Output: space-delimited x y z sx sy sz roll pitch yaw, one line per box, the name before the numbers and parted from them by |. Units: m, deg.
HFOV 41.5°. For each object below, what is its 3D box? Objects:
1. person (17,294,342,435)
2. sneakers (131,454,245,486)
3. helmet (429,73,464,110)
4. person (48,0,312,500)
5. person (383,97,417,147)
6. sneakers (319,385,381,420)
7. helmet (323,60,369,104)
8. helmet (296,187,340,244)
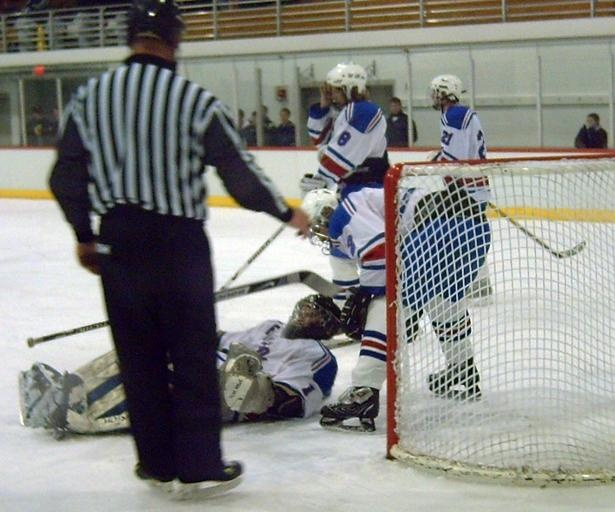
person | -0.419 0.310 2.903 0.916 0.360 0.535 -4 2 -27
sneakers | -0.308 0.636 2.344 0.219 0.063 0.122 14 -26 -38
helmet | 0.779 -0.936 4.583 0.208 0.195 0.162 0 14 24
person | -0.377 0.057 2.258 0.629 1.214 0.195 -2 4 13
person | 1.072 -1.496 9.775 0.497 0.759 0.205 0 -8 17
sneakers | 0.146 0.518 2.874 0.247 0.109 0.081 3 -3 -25
helmet | 0.184 -0.779 3.672 0.190 0.185 0.149 -2 15 9
helmet | 0.105 -0.148 3.363 0.216 0.216 0.170 -6 -17 39
